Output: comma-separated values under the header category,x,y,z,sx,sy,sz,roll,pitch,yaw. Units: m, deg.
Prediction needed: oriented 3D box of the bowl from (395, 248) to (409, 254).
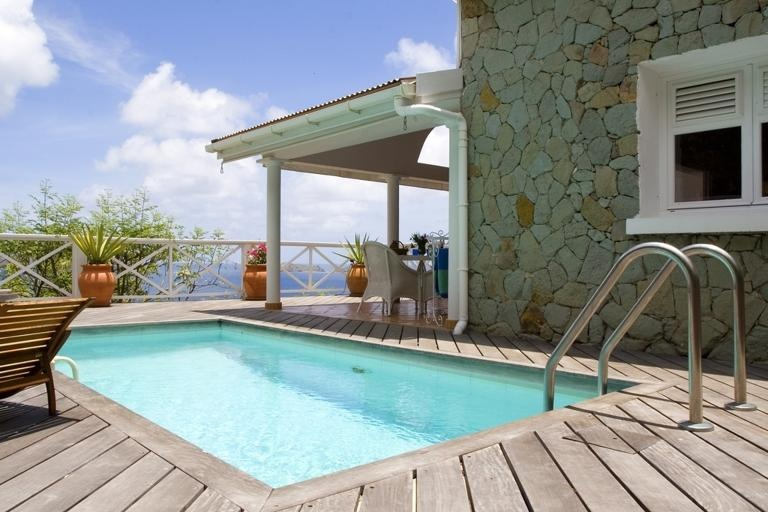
category,x,y,z,sx,sy,sz,roll,pitch,yaw
bowl,0.306,-0.078,7.834,0.125,0.108,0.164,0,0,-11

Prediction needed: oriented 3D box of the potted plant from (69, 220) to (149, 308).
category,x,y,z,sx,sy,sz,roll,pitch,yaw
potted plant,-5.633,0.178,8.511,0.843,1.596,1.067,-2,2,-39

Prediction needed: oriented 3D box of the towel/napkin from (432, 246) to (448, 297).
category,x,y,z,sx,sy,sz,roll,pitch,yaw
towel/napkin,0.874,0.242,6.772,0.208,0.796,0.233,-1,2,5

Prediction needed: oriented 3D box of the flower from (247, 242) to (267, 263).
category,x,y,z,sx,sy,sz,roll,pitch,yaw
flower,-2.987,-0.054,10.027,0.551,0.441,0.535,-5,11,-27

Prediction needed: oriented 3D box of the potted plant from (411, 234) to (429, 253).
category,x,y,z,sx,sy,sz,roll,pitch,yaw
potted plant,0.666,-0.218,7.965,0.324,0.319,0.316,-1,-3,34

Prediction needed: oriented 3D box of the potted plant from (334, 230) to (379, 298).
category,x,y,z,sx,sy,sz,roll,pitch,yaw
potted plant,-0.593,0.221,10.573,1.331,1.618,1.452,0,-1,-36

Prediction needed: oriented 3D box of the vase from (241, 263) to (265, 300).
category,x,y,z,sx,sy,sz,roll,pitch,yaw
vase,-3.020,0.596,9.909,0.594,0.828,0.346,-1,2,0
